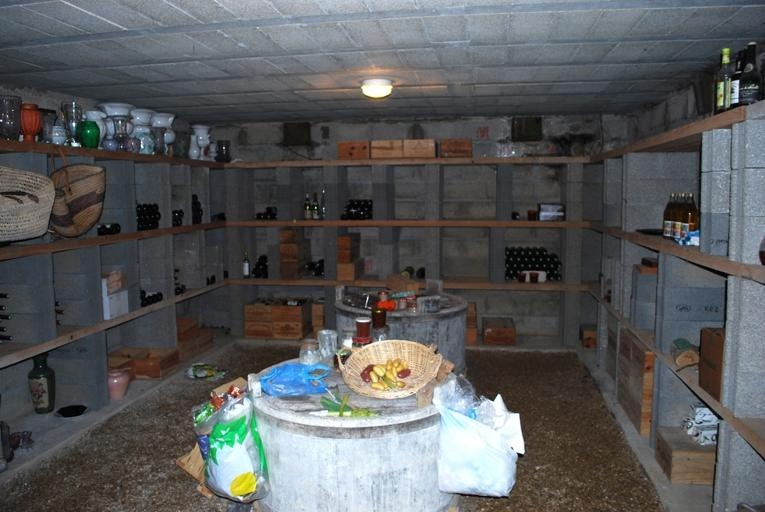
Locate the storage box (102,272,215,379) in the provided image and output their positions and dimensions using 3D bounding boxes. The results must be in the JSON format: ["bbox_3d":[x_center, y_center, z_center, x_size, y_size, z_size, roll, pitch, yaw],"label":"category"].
[{"bbox_3d":[-3.028,0.761,7.404,1.368,1.118,2.165,1,5,12],"label":"storage box"}]

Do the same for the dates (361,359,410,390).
[{"bbox_3d":[0.039,0.922,4.128,0.276,0.072,0.248,-13,29,-34],"label":"dates"}]

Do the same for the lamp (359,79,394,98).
[{"bbox_3d":[-0.052,-1.921,6.144,0.328,0.135,0.355,2,6,17],"label":"lamp"}]

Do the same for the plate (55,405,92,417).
[{"bbox_3d":[-3.473,1.746,6.058,0.292,0.065,0.276,-5,8,-43],"label":"plate"}]

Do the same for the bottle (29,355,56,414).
[{"bbox_3d":[-3.830,1.427,6.073,0.254,0.698,0.221,-4,10,-28],"label":"bottle"}]

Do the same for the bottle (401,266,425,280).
[{"bbox_3d":[0.516,0.281,8.777,0.322,0.131,0.270,1,-1,11],"label":"bottle"}]

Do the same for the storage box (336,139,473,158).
[{"bbox_3d":[0.330,-1.615,8.145,2.000,0.324,0.209,1,8,6],"label":"storage box"}]

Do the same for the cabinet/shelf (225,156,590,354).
[{"bbox_3d":[0.531,-0.029,8.082,4.564,1.694,0.544,2,11,14],"label":"cabinet/shelf"}]

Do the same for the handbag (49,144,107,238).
[{"bbox_3d":[-3.087,-0.616,5.449,0.533,0.854,0.277,-4,10,-29],"label":"handbag"}]

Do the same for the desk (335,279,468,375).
[{"bbox_3d":[0.111,0.794,6.474,1.377,0.602,1.371,0,0,-44],"label":"desk"}]

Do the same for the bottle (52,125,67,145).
[{"bbox_3d":[-3.402,-1.278,5.680,0.103,0.197,0.200,3,8,16],"label":"bottle"}]
